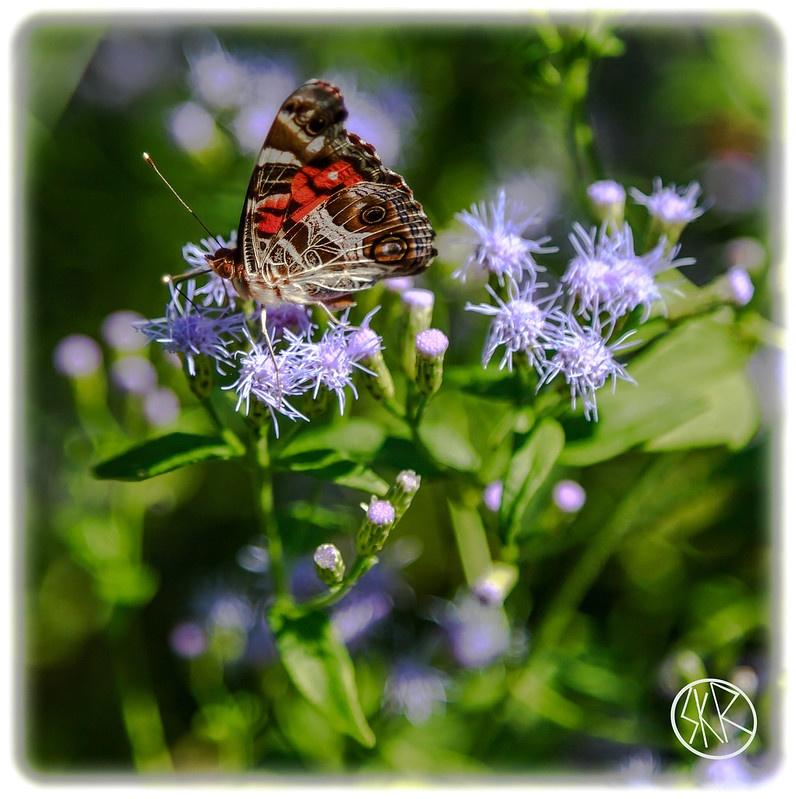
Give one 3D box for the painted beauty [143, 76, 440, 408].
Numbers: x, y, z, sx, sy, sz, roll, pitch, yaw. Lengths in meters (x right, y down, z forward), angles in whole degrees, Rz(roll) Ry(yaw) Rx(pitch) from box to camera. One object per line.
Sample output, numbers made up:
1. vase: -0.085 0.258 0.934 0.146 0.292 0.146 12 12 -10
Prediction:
1. painted beauty: -0.208 -0.512 2.260 0.605 0.512 0.312 -12 49 -17
